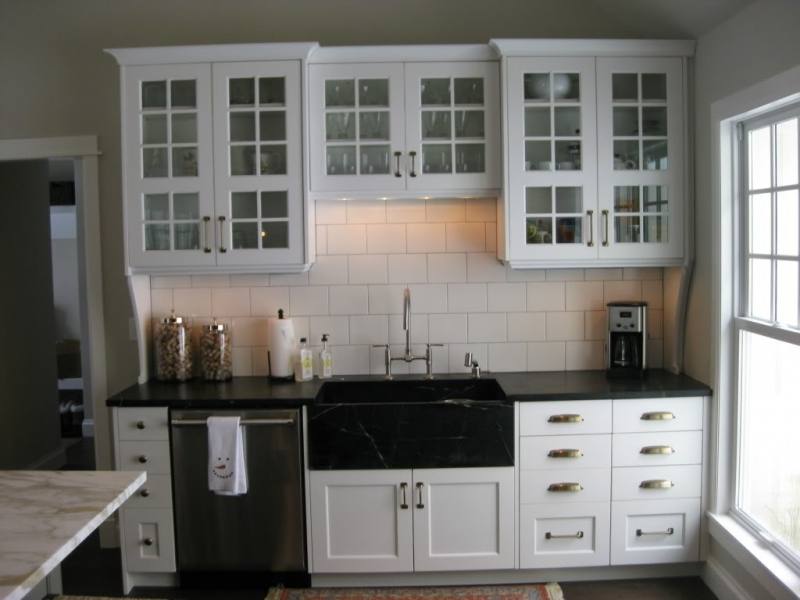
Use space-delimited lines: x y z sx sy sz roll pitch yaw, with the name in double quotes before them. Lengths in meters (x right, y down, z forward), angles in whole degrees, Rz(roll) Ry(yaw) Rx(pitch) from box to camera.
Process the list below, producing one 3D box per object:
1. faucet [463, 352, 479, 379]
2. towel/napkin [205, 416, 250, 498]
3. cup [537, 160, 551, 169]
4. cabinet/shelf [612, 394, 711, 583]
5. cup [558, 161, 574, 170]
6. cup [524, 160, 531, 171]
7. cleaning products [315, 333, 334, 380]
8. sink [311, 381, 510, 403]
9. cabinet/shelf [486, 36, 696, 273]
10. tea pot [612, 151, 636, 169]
"faucet" 0.442 0.397 4.814 0.097 0.177 0.240 0 14 6
"towel/napkin" -0.988 0.906 4.373 0.219 0.467 0.146 -3 14 -6
"cup" 0.858 -0.796 4.568 0.072 0.050 0.039 0 -12 3
"cabinet/shelf" 1.485 1.053 4.441 0.533 0.952 0.261 0 14 7
"cup" 0.973 -0.798 4.575 0.078 0.052 0.043 0 -4 0
"cup" 0.749 -0.799 4.565 0.047 0.061 0.048 2 -3 0
"cleaning products" -0.483 0.347 4.856 0.110 0.270 0.157 -3 14 -6
"sink" 0.050 0.565 4.756 1.057 0.159 0.090 -1 14 2
"cabinet/shelf" 1.136 -0.906 4.568 1.420 1.581 0.427 0 -1 -1
"tea pot" 1.318 -0.838 4.579 0.109 0.101 0.036 0 3 1
